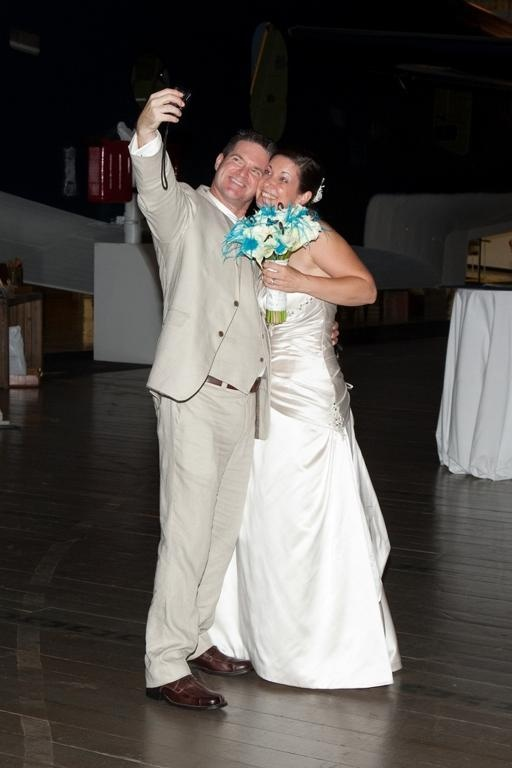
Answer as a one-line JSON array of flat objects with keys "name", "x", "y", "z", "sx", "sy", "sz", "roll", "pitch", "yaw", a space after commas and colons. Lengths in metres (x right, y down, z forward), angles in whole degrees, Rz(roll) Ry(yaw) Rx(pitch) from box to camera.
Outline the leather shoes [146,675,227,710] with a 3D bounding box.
[{"name": "leather shoes", "x": -0.149, "y": 0.627, "z": 1.486, "sx": 0.173, "sy": 0.078, "sz": 0.069, "roll": -2, "pitch": 0, "yaw": 24}]

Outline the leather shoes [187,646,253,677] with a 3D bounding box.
[{"name": "leather shoes", "x": -0.085, "y": 0.653, "z": 1.673, "sx": 0.149, "sy": 0.061, "sz": 0.056, "roll": -1, "pitch": -2, "yaw": 16}]

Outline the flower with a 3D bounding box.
[{"name": "flower", "x": 0.046, "y": -0.259, "z": 1.481, "sx": 0.214, "sy": 0.227, "sz": 0.214, "roll": -1, "pitch": 3, "yaw": 0}]

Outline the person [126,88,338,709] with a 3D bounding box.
[{"name": "person", "x": -0.116, "y": 0.071, "z": 1.442, "sx": 0.219, "sy": 1.207, "sz": 0.374, "roll": 3, "pitch": 9, "yaw": 16}]
